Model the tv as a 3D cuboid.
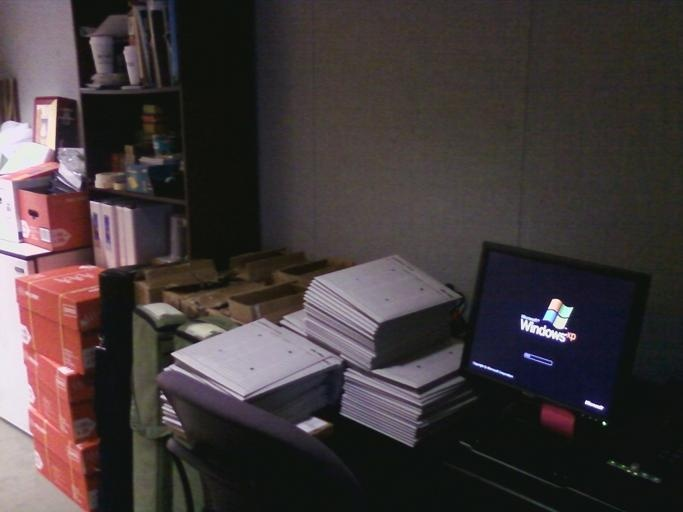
[{"bbox_3d":[0.701,0.274,1.906,0.626,0.570,0.078,6,10,37],"label":"tv"}]
